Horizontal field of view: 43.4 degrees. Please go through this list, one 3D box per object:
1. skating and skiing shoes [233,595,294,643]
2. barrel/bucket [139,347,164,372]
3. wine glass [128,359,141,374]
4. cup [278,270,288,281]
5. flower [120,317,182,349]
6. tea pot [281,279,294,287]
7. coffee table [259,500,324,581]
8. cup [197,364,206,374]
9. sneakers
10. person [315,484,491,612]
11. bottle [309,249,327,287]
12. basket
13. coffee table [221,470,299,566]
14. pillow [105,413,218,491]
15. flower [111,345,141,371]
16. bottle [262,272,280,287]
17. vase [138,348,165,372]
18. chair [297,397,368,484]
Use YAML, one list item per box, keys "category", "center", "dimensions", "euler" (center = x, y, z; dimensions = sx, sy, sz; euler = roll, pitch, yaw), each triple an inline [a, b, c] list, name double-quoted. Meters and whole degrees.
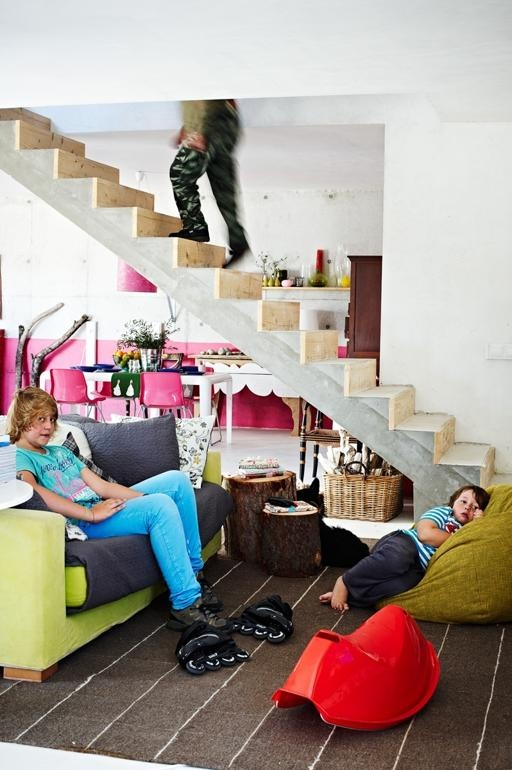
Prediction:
- category: "skating and skiing shoes"
  center: [0.043, 0.913, 2.504]
  dimensions: [0.125, 0.061, 0.158]
  euler: [-2, 1, -37]
- category: "barrel/bucket"
  center: [-1.052, -0.241, 6.288]
  dimensions: [0.217, 0.224, 0.286]
  euler: [1, -1, -3]
- category: "wine glass"
  center: [-1.182, -0.169, 6.374]
  dimensions: [0.174, 0.162, 0.126]
  euler: [0, -1, 6]
- category: "cup"
  center: [0.351, -1.413, 8.308]
  dimensions: [0.139, 0.148, 0.135]
  euler: [0, 8, 0]
- category: "flower"
  center: [-1.127, -0.579, 7.118]
  dimensions: [0.673, 0.310, 0.688]
  euler: [-8, 8, -37]
- category: "tea pot"
  center: [0.401, -1.275, 8.134]
  dimensions: [0.106, 0.070, 0.108]
  euler: [-3, 2, 0]
- category: "coffee table"
  center: [0.210, 0.786, 3.364]
  dimensions: [0.359, 0.326, 0.337]
  euler: [-1, 2, 21]
- category: "cup"
  center: [-0.573, -0.170, 6.793]
  dimensions: [0.069, 0.119, 0.127]
  euler: [-1, 3, 14]
- category: "sneakers"
  center: [-0.159, 0.864, 2.546]
  dimensions: [0.313, 0.272, 0.115]
  euler: [-1, -2, 9]
- category: "person"
  center: [0.700, 0.754, 2.891]
  dimensions: [0.847, 0.247, 0.299]
  euler: [-40, 41, -23]
- category: "bottle"
  center: [0.790, -1.481, 8.146]
  dimensions: [0.219, 0.498, 0.231]
  euler: [1, -1, 0]
- category: "basket"
  center: [0.737, 0.766, 4.509]
  dimensions: [0.435, 0.393, 0.544]
  euler: [-1, 0, 15]
- category: "coffee table"
  center: [0.019, 0.745, 3.660]
  dimensions: [0.460, 0.433, 0.425]
  euler: [-1, 1, 0]
- category: "pillow"
  center: [-0.468, 0.345, 3.195]
  dimensions: [0.416, 0.293, 0.143]
  euler: [0, 1, 10]
- category: "flower"
  center: [-1.292, -0.250, 6.497]
  dimensions: [0.361, 0.196, 0.333]
  euler: [6, 5, 26]
- category: "bottle"
  center: [0.199, -1.362, 8.288]
  dimensions: [0.206, 0.183, 0.109]
  euler: [1, -1, 6]
- category: "vase"
  center: [-1.045, -0.247, 6.404]
  dimensions: [0.206, 0.183, 0.225]
  euler: [-1, -1, 2]
- category: "chair"
  center: [0.620, 0.438, 5.554]
  dimensions: [0.664, 0.991, 0.658]
  euler: [2, 1, 10]
